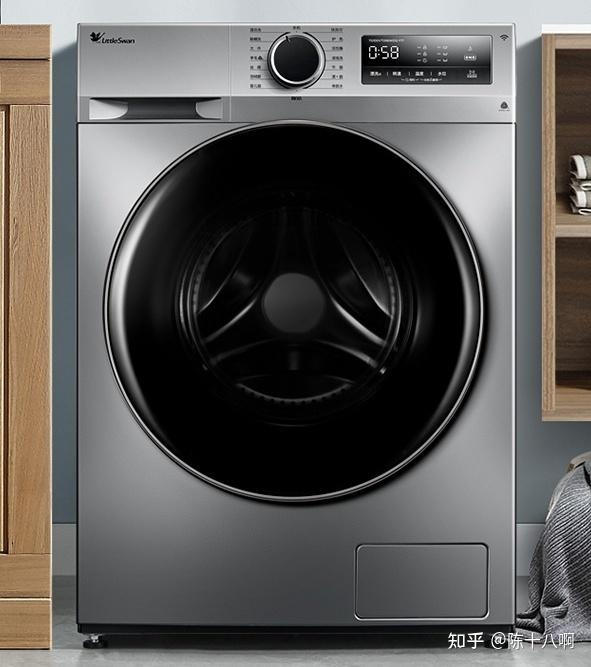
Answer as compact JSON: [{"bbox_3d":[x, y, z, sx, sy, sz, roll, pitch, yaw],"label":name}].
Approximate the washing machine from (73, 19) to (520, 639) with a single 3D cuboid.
[{"bbox_3d":[0.011,-0.019,1.461,0.781,1.028,0.744,0,2,4],"label":"washing machine"}]
